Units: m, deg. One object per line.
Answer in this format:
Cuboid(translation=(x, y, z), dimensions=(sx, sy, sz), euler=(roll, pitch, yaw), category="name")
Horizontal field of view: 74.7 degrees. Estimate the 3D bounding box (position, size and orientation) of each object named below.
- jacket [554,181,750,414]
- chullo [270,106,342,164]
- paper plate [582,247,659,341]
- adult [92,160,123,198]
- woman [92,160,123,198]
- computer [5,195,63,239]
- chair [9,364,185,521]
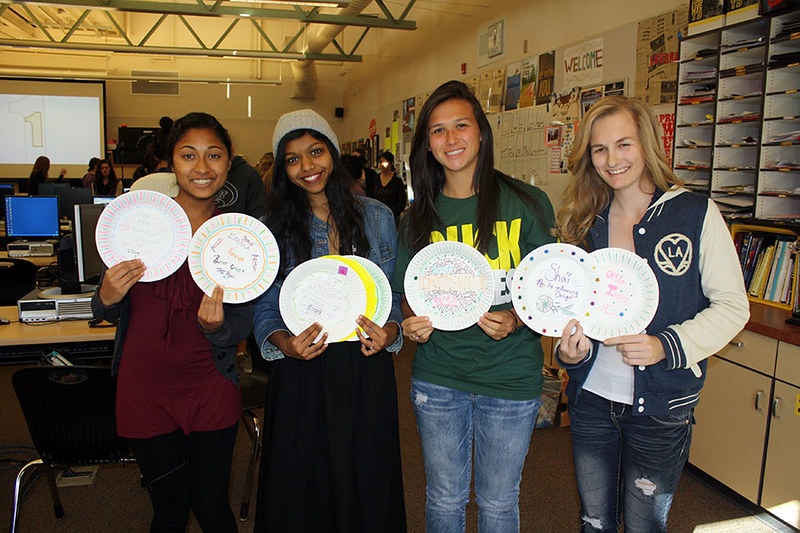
Cuboid(translation=(1.190, 0.116, 2.164), dimensions=(0.662, 0.885, 0.222), euler=(3, 9, 24), category="jacket")
Cuboid(translation=(-0.451, -0.618, 2.424), dimensions=(0.218, 0.149, 0.229), euler=(-6, -24, -22), category="chullo")
Cuboid(translation=(0.913, 0.088, 2.204), dimensions=(0.326, 0.370, 0.054), euler=(-3, -12, -16), category="paper plate")
Cuboid(translation=(-4.640, -1.275, 8.303), dimensions=(0.428, 0.817, 0.430), euler=(-1, -3, -24), category="adult")
Cuboid(translation=(-4.627, -1.274, 8.297), dimensions=(0.444, 0.818, 0.444), euler=(-1, -5, -29), category="woman")
Cuboid(translation=(-4.216, -0.560, 6.058), dimensions=(0.530, 0.501, 0.078), euler=(-2, 4, -14), category="computer")
Cuboid(translation=(-1.679, 0.811, 3.088), dimensions=(0.707, 1.163, 0.807), euler=(0, 15, -9), category="chair")
